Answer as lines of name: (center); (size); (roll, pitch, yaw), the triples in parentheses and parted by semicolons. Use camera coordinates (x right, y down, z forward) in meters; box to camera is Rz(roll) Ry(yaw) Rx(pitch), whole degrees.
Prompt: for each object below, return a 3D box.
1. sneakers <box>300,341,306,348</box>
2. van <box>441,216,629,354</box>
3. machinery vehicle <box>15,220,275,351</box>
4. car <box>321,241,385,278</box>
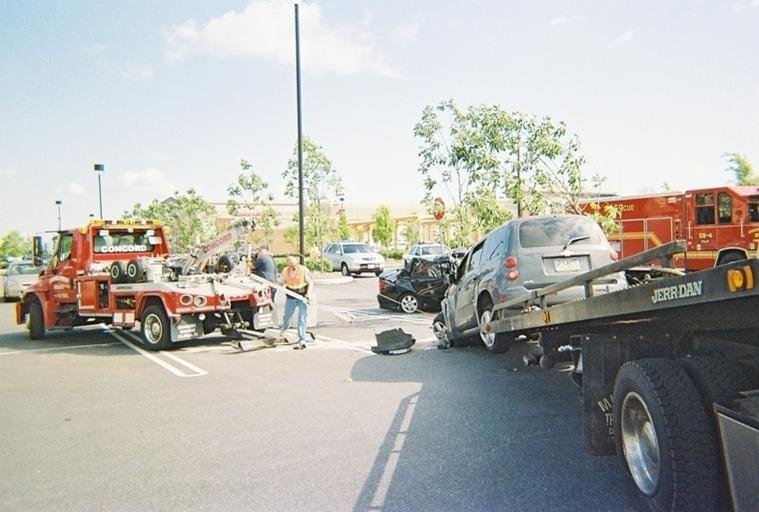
sneakers: (-1.667, 1.949, 11.978); (0.129, 0.128, 0.095); (-16, 18, -36)
van: (2.599, 0.372, 9.756); (1.881, 1.689, 3.377); (-6, 0, -18)
machinery vehicle: (-5.367, 0.707, 13.244); (8.435, 3.243, 3.923); (3, 2, 37)
car: (-1.703, 0.168, 33.726); (1.950, 2.032, 3.875); (-6, 6, -44)
